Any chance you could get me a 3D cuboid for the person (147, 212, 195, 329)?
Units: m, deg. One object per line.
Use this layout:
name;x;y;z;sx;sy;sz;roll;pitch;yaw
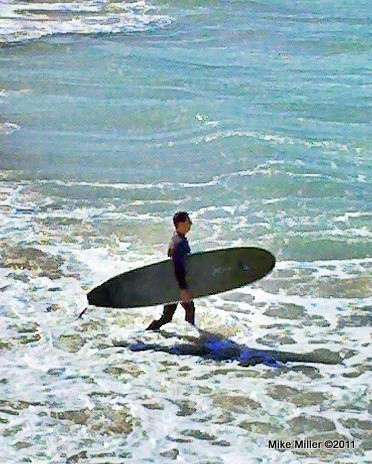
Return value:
person;-0.248;0.685;17.072;0.748;2.106;0.840;-1;13;0
